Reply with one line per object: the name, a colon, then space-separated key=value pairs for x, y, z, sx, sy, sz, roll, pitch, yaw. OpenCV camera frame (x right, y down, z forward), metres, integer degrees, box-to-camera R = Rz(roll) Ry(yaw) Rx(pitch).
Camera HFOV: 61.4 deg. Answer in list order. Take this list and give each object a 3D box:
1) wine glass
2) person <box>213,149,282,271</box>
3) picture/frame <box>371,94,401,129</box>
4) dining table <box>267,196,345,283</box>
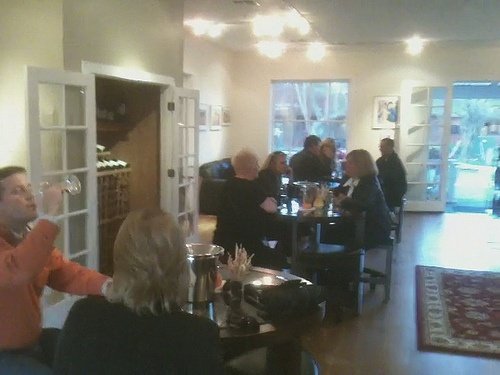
wine glass: x=-1.312 y=0.004 z=2.786 sx=0.336 sy=0.343 sz=0.206 roll=-5 pitch=13 yaw=-30
person: x=-0.005 y=0.205 z=3.819 sx=0.655 sy=1.055 sz=0.423 roll=-1 pitch=9 yaw=-10
picture/frame: x=2.952 y=-1.655 z=9.065 sx=0.696 sy=0.993 sz=0.076 roll=3 pitch=11 yaw=18
dining table: x=0.608 y=0.479 z=4.332 sx=0.722 sy=0.580 sz=0.756 roll=0 pitch=6 yaw=2
